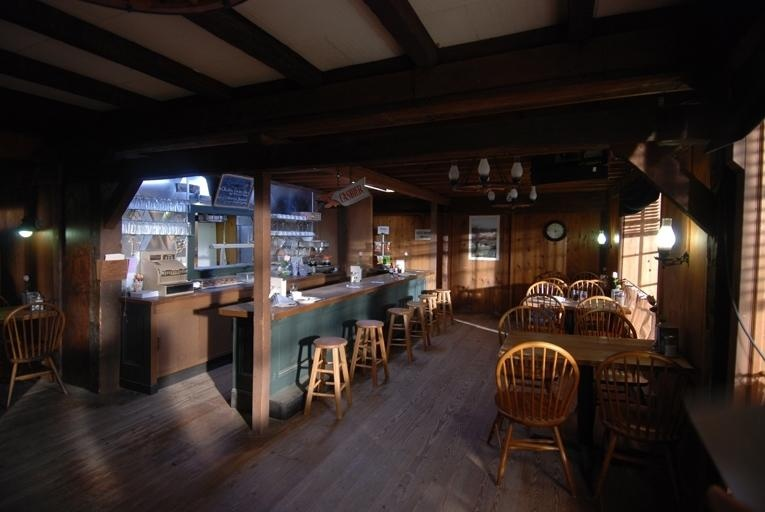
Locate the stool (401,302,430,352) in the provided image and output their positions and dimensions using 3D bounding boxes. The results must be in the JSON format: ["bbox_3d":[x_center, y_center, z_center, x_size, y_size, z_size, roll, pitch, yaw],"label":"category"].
[{"bbox_3d":[0.548,1.093,8.030,0.397,0.661,0.399,-2,5,9],"label":"stool"}]

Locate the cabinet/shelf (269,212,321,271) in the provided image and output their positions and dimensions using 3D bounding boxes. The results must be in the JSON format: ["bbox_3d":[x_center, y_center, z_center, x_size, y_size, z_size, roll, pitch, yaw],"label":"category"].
[{"bbox_3d":[-1.523,-0.220,9.736,0.465,1.266,1.369,-7,-2,3],"label":"cabinet/shelf"}]

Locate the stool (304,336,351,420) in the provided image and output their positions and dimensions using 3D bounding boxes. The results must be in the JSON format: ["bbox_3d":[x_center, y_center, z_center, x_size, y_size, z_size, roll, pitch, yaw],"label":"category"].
[{"bbox_3d":[-0.595,1.354,5.799,0.521,0.758,0.564,4,6,23],"label":"stool"}]

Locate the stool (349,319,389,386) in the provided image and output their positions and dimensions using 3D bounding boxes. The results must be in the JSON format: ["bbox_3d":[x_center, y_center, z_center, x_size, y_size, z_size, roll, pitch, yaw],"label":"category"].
[{"bbox_3d":[-0.150,1.209,6.767,0.488,0.771,1.060,0,1,0],"label":"stool"}]

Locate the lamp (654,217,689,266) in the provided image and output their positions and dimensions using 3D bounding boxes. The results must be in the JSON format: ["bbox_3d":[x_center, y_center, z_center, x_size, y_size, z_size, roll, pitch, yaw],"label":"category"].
[{"bbox_3d":[2.837,-0.144,4.983,0.281,0.486,0.611,0,1,30],"label":"lamp"}]

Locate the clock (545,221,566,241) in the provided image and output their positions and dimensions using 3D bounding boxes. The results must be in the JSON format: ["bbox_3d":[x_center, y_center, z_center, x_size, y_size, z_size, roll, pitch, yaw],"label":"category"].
[{"bbox_3d":[3.526,-0.471,10.390,0.372,0.389,0.382,-18,-6,15],"label":"clock"}]

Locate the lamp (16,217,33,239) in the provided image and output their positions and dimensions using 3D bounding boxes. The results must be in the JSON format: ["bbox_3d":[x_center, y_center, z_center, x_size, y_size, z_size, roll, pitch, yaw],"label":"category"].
[{"bbox_3d":[-4.766,-0.374,6.833,0.168,0.266,0.457,-1,1,-37],"label":"lamp"}]

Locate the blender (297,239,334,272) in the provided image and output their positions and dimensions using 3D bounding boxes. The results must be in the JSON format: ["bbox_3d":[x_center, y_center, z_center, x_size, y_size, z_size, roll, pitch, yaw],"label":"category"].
[{"bbox_3d":[-1.209,-0.076,10.022,0.477,0.641,0.926,-16,1,-10],"label":"blender"}]

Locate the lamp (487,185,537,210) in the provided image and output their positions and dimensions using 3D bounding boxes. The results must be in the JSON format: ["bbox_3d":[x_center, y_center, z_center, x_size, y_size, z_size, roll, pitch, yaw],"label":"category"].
[{"bbox_3d":[2.106,-0.947,8.249,0.767,0.322,0.795,0,0,25],"label":"lamp"}]

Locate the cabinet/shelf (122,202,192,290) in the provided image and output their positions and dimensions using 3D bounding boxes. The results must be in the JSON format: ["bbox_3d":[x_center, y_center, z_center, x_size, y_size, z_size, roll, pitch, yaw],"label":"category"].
[{"bbox_3d":[-2.995,-0.156,6.982,0.388,1.216,1.242,2,3,15],"label":"cabinet/shelf"}]

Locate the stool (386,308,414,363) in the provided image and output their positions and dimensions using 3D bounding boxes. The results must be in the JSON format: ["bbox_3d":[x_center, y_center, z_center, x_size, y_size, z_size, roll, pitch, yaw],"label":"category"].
[{"bbox_3d":[0.273,1.161,7.465,0.443,0.680,0.431,0,1,20],"label":"stool"}]
